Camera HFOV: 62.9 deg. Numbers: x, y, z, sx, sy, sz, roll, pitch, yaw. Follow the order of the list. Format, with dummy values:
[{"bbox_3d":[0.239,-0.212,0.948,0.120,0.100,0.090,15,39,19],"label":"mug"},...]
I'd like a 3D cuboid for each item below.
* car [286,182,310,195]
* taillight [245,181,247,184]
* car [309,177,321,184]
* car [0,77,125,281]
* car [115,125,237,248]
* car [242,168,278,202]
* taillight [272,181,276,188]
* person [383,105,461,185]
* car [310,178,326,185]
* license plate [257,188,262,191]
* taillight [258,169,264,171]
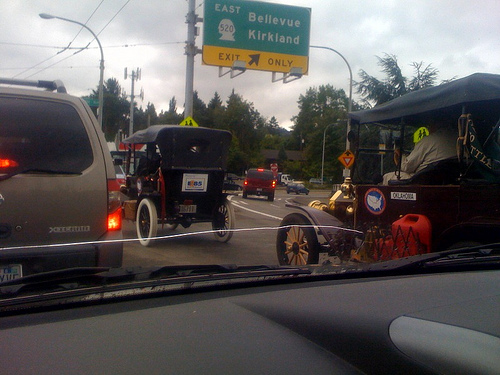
[{"bbox_3d":[5.180,0.137,44.454,1.808,0.965,1.229,-4,6,-18],"label":"car"},{"bbox_3d":[-0.282,-0.315,27.658,0.112,0.137,0.121,2,8,-1],"label":"taillight"},{"bbox_3d":[10.864,-0.866,68.222,1.794,1.044,1.119,-8,8,-6],"label":"car"},{"bbox_3d":[-1.698,-0.205,4.421,1.255,1.435,2.404,-1,7,-20],"label":"car"},{"bbox_3d":[-1.735,-0.075,9.464,2.008,2.536,2.961,1,3,-27],"label":"car"},{"bbox_3d":[0.693,-0.317,27.376,1.344,1.356,2.622,2,8,-3],"label":"car"},{"bbox_3d":[1.566,-0.150,27.335,0.237,0.479,0.246,0,22,-8],"label":"taillight"},{"bbox_3d":[2.464,-0.764,5.494,0.771,1.083,1.440,8,10,43],"label":"person"},{"bbox_3d":[10.999,-0.968,68.051,1.969,1.102,1.265,-7,10,-21],"label":"car"},{"bbox_3d":[0.615,0.155,27.404,0.200,0.156,0.123,2,5,2],"label":"license plate"},{"bbox_3d":[0.732,-1.127,27.273,0.357,0.107,0.196,2,3,-3],"label":"taillight"}]
